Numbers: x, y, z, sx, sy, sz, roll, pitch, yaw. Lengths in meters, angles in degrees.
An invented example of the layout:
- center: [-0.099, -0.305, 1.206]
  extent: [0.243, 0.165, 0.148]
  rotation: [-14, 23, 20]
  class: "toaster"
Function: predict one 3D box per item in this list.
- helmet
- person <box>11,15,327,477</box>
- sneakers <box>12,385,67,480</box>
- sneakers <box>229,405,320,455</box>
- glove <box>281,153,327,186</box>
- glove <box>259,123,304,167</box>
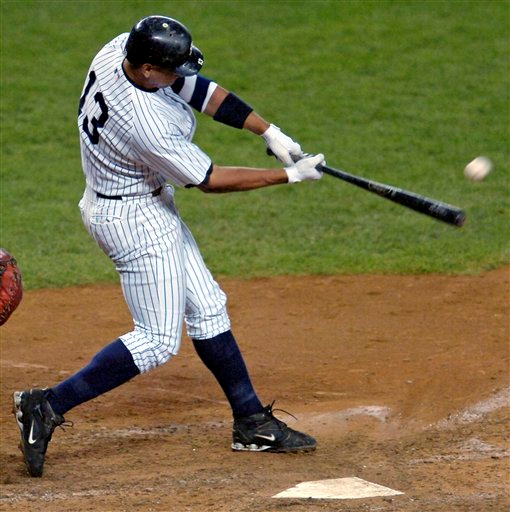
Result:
- center: [-0.397, -0.899, 4.088]
  extent: [0.398, 0.143, 0.216]
  rotation: [14, 56, -1]
  class: "helmet"
- center: [-0.407, -0.067, 4.380]
  extent: [1.529, 2.065, 0.906]
  rotation: [-4, 20, -3]
  class: "person"
- center: [-1.002, 0.800, 4.295]
  extent: [0.300, 0.391, 0.156]
  rotation: [-7, -4, -1]
  class: "sneakers"
- center: [0.073, 0.862, 4.617]
  extent: [0.506, 0.196, 0.161]
  rotation: [1, -5, 0]
  class: "sneakers"
- center: [0.218, -0.406, 4.407]
  extent: [0.229, 0.054, 0.121]
  rotation: [-21, 42, -30]
  class: "glove"
- center: [0.128, -0.544, 4.610]
  extent: [0.140, 0.262, 0.102]
  rotation: [-54, 7, -38]
  class: "glove"
